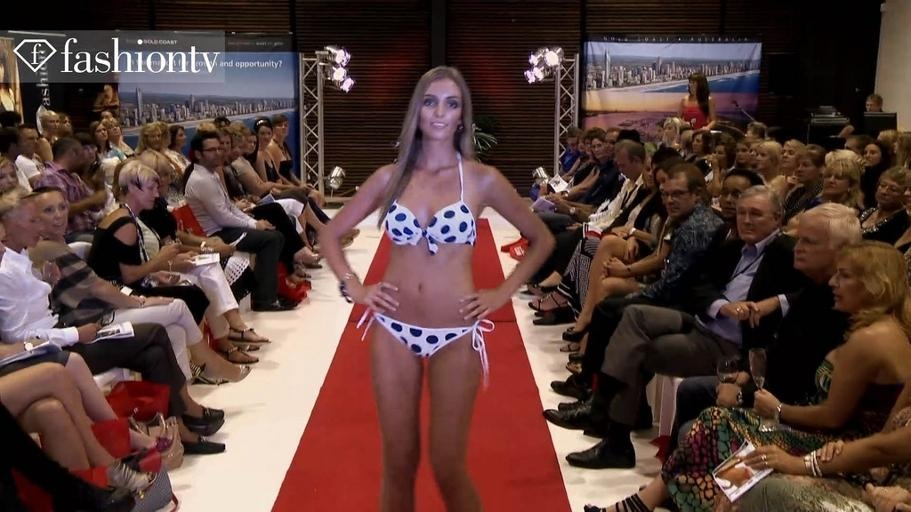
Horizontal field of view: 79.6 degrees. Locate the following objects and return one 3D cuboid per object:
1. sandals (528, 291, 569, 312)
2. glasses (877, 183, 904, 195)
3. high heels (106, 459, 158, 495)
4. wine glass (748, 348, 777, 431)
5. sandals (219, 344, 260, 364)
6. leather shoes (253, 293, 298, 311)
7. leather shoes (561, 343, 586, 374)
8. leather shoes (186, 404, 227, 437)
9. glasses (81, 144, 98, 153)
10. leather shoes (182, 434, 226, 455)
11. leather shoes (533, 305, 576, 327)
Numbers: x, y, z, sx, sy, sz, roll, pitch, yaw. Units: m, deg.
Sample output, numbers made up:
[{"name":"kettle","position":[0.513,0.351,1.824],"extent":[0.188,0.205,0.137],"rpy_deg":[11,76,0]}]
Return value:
[{"name":"sandals","position":[1.103,0.552,6.625],"extent":[0.485,0.204,0.198],"rpy_deg":[2,13,13]},{"name":"glasses","position":[3.895,-0.607,4.942],"extent":[0.125,0.117,0.096],"rpy_deg":[17,5,-40]},{"name":"high heels","position":[-2.070,1.418,3.492],"extent":[0.318,0.105,0.135],"rpy_deg":[16,-36,-41]},{"name":"wine glass","position":[1.760,0.751,3.164],"extent":[0.151,0.419,0.320],"rpy_deg":[4,15,20]},{"name":"sandals","position":[-2.154,0.980,5.475],"extent":[0.398,0.154,0.163],"rpy_deg":[1,17,-11]},{"name":"leather shoes","position":[-2.282,0.582,6.986],"extent":[0.574,0.237,0.187],"rpy_deg":[-2,6,-6]},{"name":"leather shoes","position":[1.160,1.021,5.394],"extent":[0.132,0.121,0.367],"rpy_deg":[-4,12,14]},{"name":"leather shoes","position":[-1.985,1.313,4.349],"extent":[0.282,0.099,0.151],"rpy_deg":[30,35,-17]},{"name":"glasses","position":[-4.458,-1.312,6.669],"extent":[0.119,0.133,0.088],"rpy_deg":[2,-21,-44]},{"name":"leather shoes","position":[-1.935,1.461,4.252],"extent":[0.366,0.142,0.121],"rpy_deg":[0,7,-6]},{"name":"leather shoes","position":[1.163,0.718,6.524],"extent":[0.419,0.135,0.230],"rpy_deg":[-1,5,-2]}]
